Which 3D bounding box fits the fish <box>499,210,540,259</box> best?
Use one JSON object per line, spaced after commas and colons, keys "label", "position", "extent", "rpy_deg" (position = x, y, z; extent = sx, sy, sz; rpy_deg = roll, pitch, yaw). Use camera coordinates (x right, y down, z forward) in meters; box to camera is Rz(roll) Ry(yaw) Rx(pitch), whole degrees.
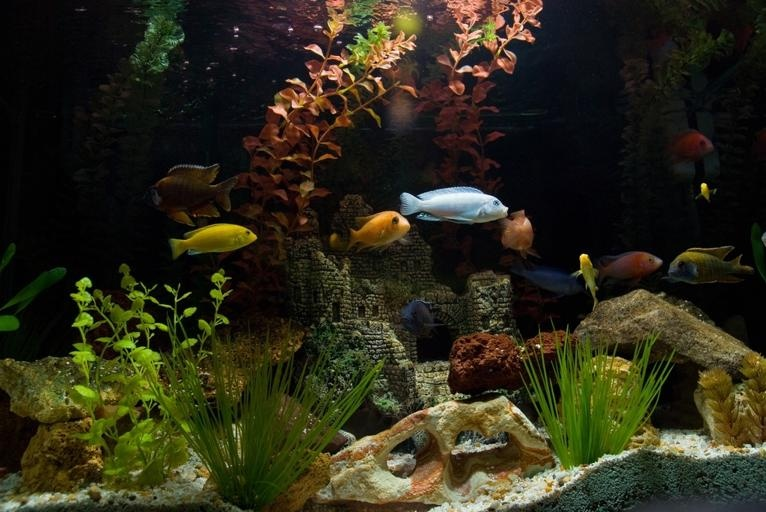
{"label": "fish", "position": [1.253, -0.204, 5.613], "extent": [0.330, 0.428, 0.156], "rpy_deg": [-5, 9, -31]}

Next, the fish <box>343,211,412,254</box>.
{"label": "fish", "position": [-0.045, -0.215, 5.320], "extent": [0.506, 0.339, 0.310], "rpy_deg": [-1, 7, -4]}

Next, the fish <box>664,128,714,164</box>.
{"label": "fish", "position": [2.927, -1.065, 5.894], "extent": [0.168, 0.314, 0.542], "rpy_deg": [-35, 27, -33]}

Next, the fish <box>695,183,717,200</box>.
{"label": "fish", "position": [3.073, -0.609, 5.812], "extent": [0.197, 0.171, 0.068], "rpy_deg": [-4, 8, -26]}

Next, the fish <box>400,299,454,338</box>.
{"label": "fish", "position": [0.385, 0.572, 5.489], "extent": [0.230, 0.214, 0.442], "rpy_deg": [-6, -17, 35]}

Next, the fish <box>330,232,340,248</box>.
{"label": "fish", "position": [-0.432, -0.137, 5.413], "extent": [0.122, 0.105, 0.116], "rpy_deg": [1, -4, -16]}
